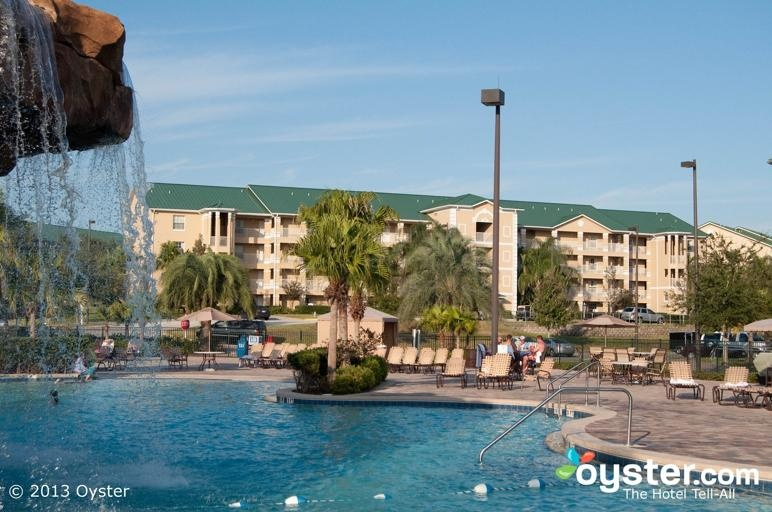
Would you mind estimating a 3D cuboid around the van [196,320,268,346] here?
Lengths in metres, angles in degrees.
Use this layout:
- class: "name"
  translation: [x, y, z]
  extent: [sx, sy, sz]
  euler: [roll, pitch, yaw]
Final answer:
- class: "van"
  translation: [-8.927, 4.696, 64.584]
  extent: [4.095, 1.747, 1.994]
  euler: [2, -2, -2]

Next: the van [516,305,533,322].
- class: "van"
  translation: [10.795, 4.324, 87.309]
  extent: [1.117, 1.306, 8.457]
  euler: [-2, -4, 6]
